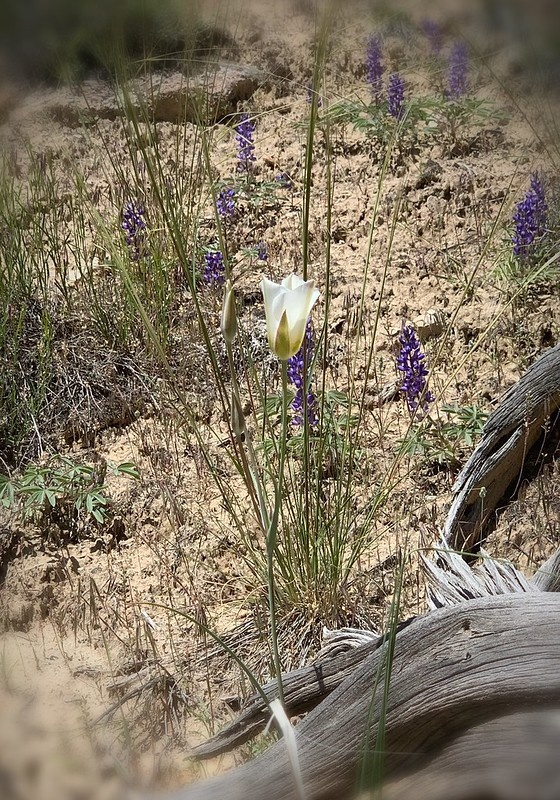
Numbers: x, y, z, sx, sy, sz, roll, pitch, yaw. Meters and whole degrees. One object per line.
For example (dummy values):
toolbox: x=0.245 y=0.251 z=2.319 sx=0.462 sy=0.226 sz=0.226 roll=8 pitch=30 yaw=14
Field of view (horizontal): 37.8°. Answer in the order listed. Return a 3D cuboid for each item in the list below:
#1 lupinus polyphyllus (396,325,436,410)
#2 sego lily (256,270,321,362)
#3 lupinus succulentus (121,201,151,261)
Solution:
lupinus polyphyllus: x=0.375 y=-0.056 z=2.337 sx=0.109 sy=0.288 sz=0.160 roll=1 pitch=18 yaw=18
sego lily: x=0.005 y=-0.113 z=1.196 sx=0.076 sy=0.122 sz=0.098 roll=0 pitch=-5 yaw=-20
lupinus succulentus: x=-0.555 y=-0.657 z=3.107 sx=0.094 sy=0.174 sz=0.322 roll=-14 pitch=33 yaw=-7
